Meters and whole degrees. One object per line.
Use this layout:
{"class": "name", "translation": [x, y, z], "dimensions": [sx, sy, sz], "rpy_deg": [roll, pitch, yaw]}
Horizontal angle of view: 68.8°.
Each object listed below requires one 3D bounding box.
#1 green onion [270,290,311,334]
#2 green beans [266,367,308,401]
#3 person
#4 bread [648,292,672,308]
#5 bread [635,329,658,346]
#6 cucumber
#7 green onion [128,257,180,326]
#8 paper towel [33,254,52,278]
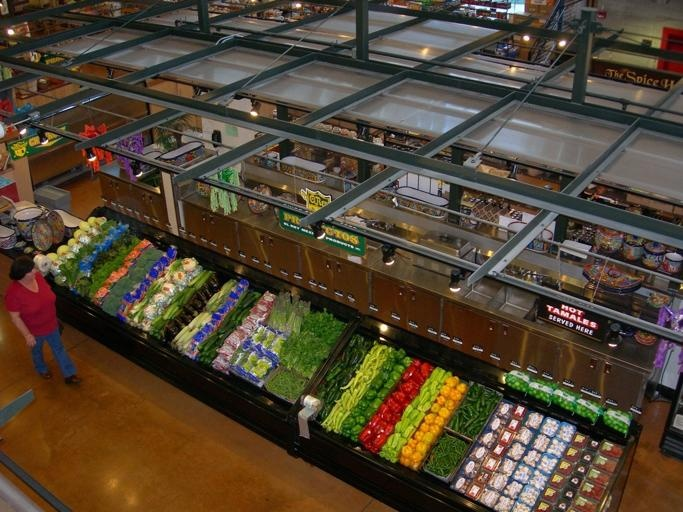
{"class": "green onion", "translation": [-0.741, 0.811, 6.993], "dimensions": [0.619, 0.562, 0.264], "rpy_deg": [22, 14, 18]}
{"class": "green beans", "translation": [-0.686, 1.636, 6.376], "dimensions": [0.389, 0.355, 0.087], "rpy_deg": [20, -36, 21]}
{"class": "person", "translation": [-4.180, 0.896, 6.941], "dimensions": [0.675, 1.807, 1.014], "rpy_deg": [-1, 10, -8]}
{"class": "bread", "translation": [3.846, 0.528, 6.010], "dimensions": [0.201, 0.183, 0.058], "rpy_deg": [-5, -19, 7]}
{"class": "bread", "translation": [3.551, 0.944, 5.814], "dimensions": [0.240, 0.140, 0.221], "rpy_deg": [13, -32, 29]}
{"class": "cucumber", "translation": [-1.591, 0.969, 7.099], "dimensions": [0.281, 1.291, 0.141], "rpy_deg": [17, -34, 30]}
{"class": "green onion", "translation": [-2.813, 0.553, 7.533], "dimensions": [0.245, 1.010, 0.527], "rpy_deg": [42, -4, -38]}
{"class": "paper towel", "translation": [-4.682, 0.152, 7.825], "dimensions": [0.274, 0.293, 0.357], "rpy_deg": [58, -24, -12]}
